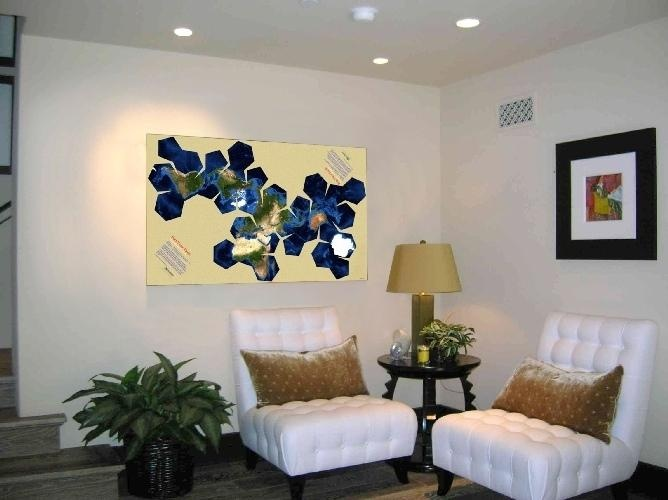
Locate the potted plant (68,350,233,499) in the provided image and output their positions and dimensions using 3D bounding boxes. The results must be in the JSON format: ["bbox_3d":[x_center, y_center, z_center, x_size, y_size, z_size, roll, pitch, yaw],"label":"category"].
[{"bbox_3d":[-1.162,1.131,3.209,0.930,0.865,0.551,1,3,7],"label":"potted plant"}]

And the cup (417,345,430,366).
[{"bbox_3d":[0.641,0.765,3.576,0.107,0.128,0.108,1,-2,0],"label":"cup"}]
